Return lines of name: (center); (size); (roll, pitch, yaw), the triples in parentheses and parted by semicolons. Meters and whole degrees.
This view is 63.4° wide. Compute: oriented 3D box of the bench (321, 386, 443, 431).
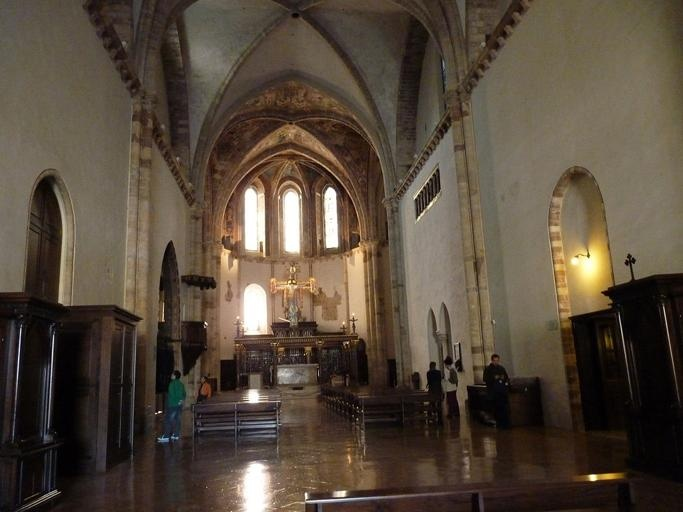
bench: (0.850, 4.636, 17.693); (2.073, 0.760, 9.248); (-1, -11, -8)

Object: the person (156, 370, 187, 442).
person: (-4.040, 3.550, 13.117); (0.561, 1.555, 1.798); (2, -11, -18)

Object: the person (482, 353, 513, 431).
person: (3.461, 3.030, 12.301); (0.560, 1.583, 0.619); (-7, -11, 28)

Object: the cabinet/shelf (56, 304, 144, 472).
cabinet/shelf: (-4.232, 2.316, 9.522); (1.056, 2.681, 2.644); (0, -11, -7)

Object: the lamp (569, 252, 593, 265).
lamp: (5.463, 0.075, 12.618); (0.480, 0.283, 0.169); (-2, -10, -1)
